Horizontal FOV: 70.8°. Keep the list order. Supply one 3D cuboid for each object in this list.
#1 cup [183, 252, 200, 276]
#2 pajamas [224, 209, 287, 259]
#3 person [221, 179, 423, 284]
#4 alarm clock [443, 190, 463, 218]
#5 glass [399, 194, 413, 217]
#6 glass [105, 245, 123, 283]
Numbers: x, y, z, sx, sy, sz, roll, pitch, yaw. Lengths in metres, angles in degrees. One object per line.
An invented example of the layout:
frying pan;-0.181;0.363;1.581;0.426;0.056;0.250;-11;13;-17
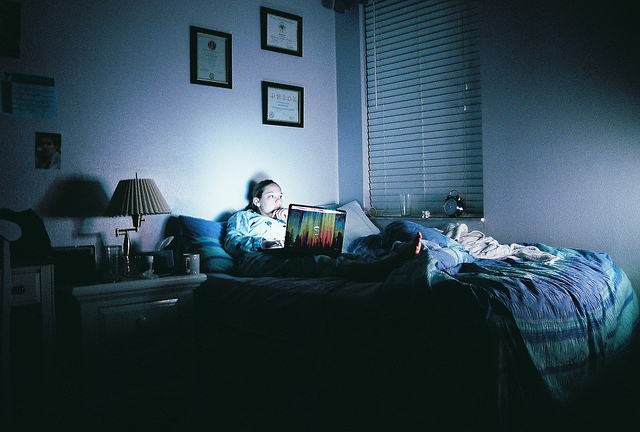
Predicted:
cup;-0.831;0.313;2.896;0.113;0.150;0.116;1;-3;0
pajamas;-0.495;0.117;3.323;0.432;0.341;0.342;0;7;-38
person;0.040;0.079;3.060;1.431;0.757;0.705;-3;-8;31
alarm clock;1.133;-0.100;3.778;0.147;0.228;0.162;2;4;16
glass;0.789;-0.095;4.071;0.162;0.255;0.167;0;-6;-3
glass;-1.262;0.291;2.751;0.090;0.195;0.223;-1;4;-25
